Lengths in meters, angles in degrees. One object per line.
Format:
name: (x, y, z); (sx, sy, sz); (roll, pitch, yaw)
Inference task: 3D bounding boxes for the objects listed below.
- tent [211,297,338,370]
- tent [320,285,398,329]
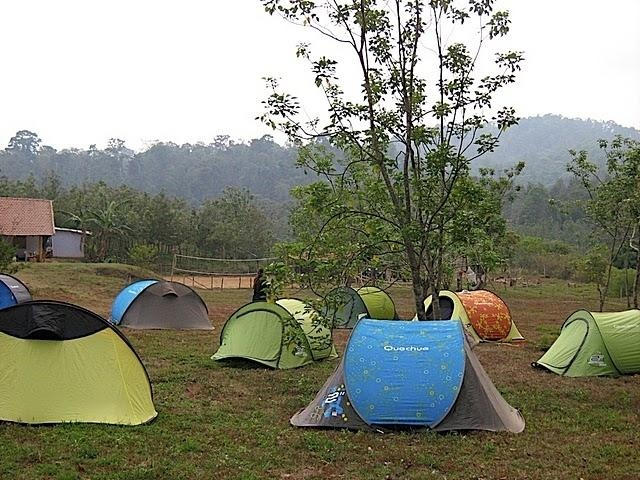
tent: (-1.163, 2.432, 14.974); (2.017, 1.143, 2.292); (-3, -7, 29)
tent: (1.431, 2.205, 20.133); (2.058, 1.231, 2.067); (-1, 1, -22)
